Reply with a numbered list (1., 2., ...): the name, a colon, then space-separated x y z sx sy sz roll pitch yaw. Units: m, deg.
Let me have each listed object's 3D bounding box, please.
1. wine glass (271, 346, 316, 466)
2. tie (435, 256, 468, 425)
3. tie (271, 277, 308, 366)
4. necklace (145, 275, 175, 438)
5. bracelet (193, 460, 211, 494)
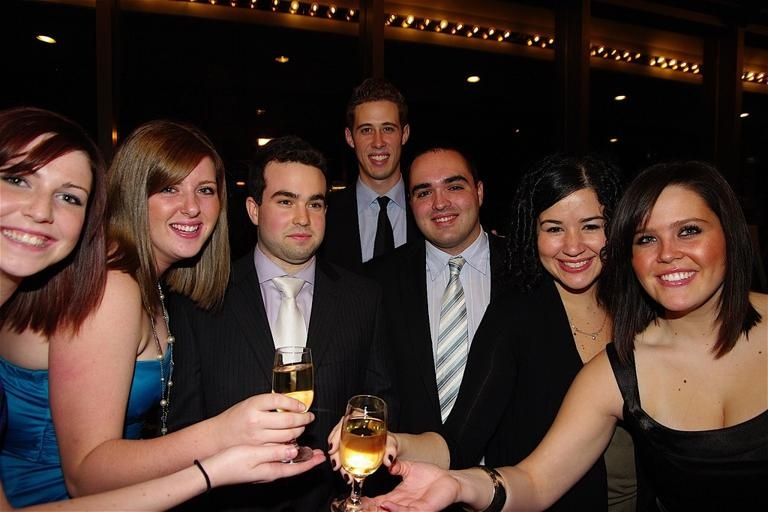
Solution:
1. wine glass: -0.475 0.647 3.154 0.197 0.315 0.210 1 5 -3
2. tie: 0.471 0.574 4.200 0.178 1.083 0.147 2 -19 8
3. tie: -0.596 0.376 3.872 0.218 0.631 0.070 -1 42 -7
4. necklace: -1.340 0.645 3.702 0.187 0.838 0.045 -14 -14 27
5. bracelet: -0.895 1.092 3.003 0.097 0.147 0.025 3 5 15
